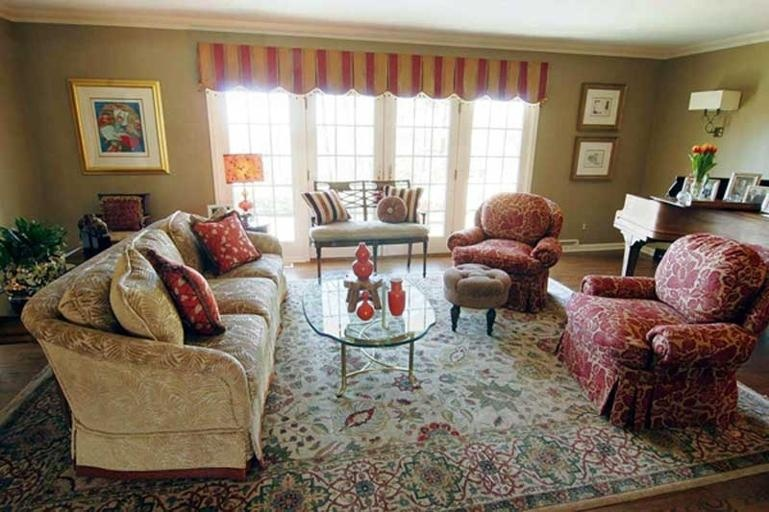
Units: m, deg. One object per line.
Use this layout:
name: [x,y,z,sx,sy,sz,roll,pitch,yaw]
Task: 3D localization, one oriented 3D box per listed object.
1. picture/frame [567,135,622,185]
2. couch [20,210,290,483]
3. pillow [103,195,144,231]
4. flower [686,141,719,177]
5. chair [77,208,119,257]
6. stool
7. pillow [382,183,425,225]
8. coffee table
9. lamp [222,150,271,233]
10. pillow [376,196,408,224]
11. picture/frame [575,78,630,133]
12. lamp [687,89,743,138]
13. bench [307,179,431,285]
picture/frame: [2.832,-1.338,7.336,0.732,0.682,0.075,-1,16,-11]
couch: [-1.750,0.442,4.972,1.634,1.467,2.934,4,21,-8]
pillow: [-3.035,-0.496,6.262,0.466,0.413,0.104,-14,0,-10]
flower: [3.191,-0.952,5.410,0.190,0.330,0.270,6,18,22]
chair: [-3.105,-0.219,5.669,0.354,0.398,0.380,-8,-3,0]
stool: [0.883,0.428,5.323,0.678,0.555,0.644,10,16,19]
pillow: [0.203,-0.604,6.551,0.547,0.499,0.207,7,6,12]
coffee table: [-0.143,0.782,4.609,0.984,0.481,1.309,-4,21,-13]
lamp: [-1.629,-0.748,6.216,0.441,0.776,0.284,-8,13,-28]
pillow: [0.102,-0.548,6.371,0.359,0.310,0.147,-1,17,0]
picture/frame: [2.878,-2.037,7.174,0.760,0.678,0.077,-2,16,-11]
lamp: [3.972,-1.714,6.513,0.511,0.554,0.389,14,22,41]
bench: [-0.235,-0.338,6.484,1.503,1.031,0.549,-3,20,-17]
